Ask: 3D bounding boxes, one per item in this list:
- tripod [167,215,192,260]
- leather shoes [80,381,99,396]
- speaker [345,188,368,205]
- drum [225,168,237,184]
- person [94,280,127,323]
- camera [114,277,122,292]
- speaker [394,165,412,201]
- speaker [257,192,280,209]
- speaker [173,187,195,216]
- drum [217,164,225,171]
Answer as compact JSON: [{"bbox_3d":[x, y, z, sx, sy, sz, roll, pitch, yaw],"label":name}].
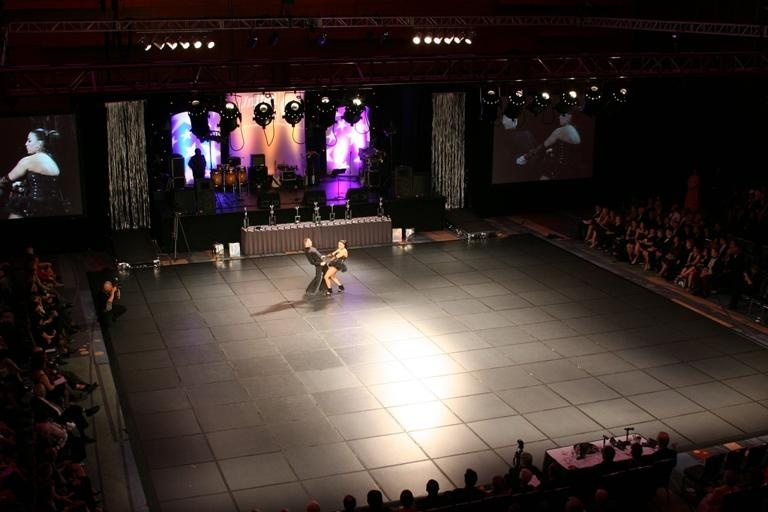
[{"bbox_3d":[-7.459,-0.774,18.442,0.649,1.575,0.728,-9,15,-19],"label":"tripod"},{"bbox_3d":[-6.158,2.711,10.568,0.184,0.227,0.580,7,6,0],"label":"leather shoes"},{"bbox_3d":[-1.113,-2.435,20.448,0.855,0.561,0.622,-3,15,-17],"label":"speaker"},{"bbox_3d":[-6.614,-3.415,21.849,0.593,0.637,0.581,1,1,-17],"label":"drum"},{"bbox_3d":[-7.510,1.278,13.884,0.549,0.941,0.810,4,22,2],"label":"person"},{"bbox_3d":[-7.742,0.832,14.725,0.158,0.423,0.305,-11,-5,27],"label":"camera"},{"bbox_3d":[0.812,-3.098,21.121,0.839,1.205,0.544,3,15,23],"label":"speaker"},{"bbox_3d":[-4.521,-2.174,19.478,0.718,0.507,0.702,-6,18,-23],"label":"speaker"},{"bbox_3d":[-7.275,-1.989,18.519,0.765,1.039,0.954,2,15,-10],"label":"speaker"},{"bbox_3d":[-7.068,-3.810,21.921,0.339,0.262,0.489,4,5,-10],"label":"drum"}]
